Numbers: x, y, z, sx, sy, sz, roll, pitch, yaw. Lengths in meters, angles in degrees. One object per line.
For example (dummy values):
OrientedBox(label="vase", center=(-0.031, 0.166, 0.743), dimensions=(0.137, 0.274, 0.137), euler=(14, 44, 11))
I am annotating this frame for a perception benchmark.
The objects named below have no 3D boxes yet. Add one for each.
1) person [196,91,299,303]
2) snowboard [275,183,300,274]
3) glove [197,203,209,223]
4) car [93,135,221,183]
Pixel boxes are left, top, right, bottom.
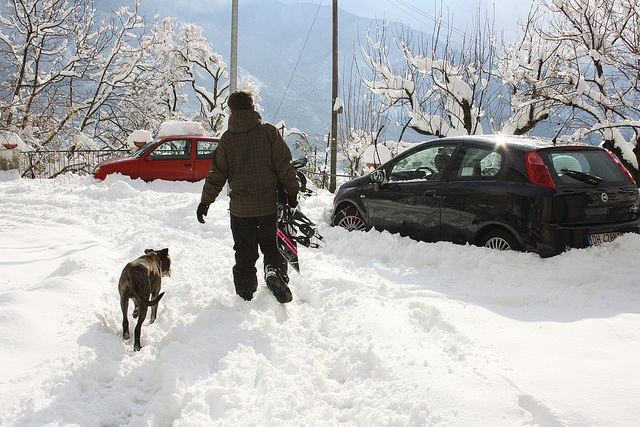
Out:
OrientedBox(label="person", center=(-0.936, -0.230, 5.814), dimensions=(1.259, 2.832, 0.546), euler=(3, 11, 1))
OrientedBox(label="snowboard", center=(-0.525, 0.231, 6.052), dimensions=(0.260, 1.107, 0.164), euler=(-10, -1, -41))
OrientedBox(label="glove", center=(-1.578, -0.017, 5.826), dimensions=(0.102, 0.292, 0.202), euler=(15, -6, -28))
OrientedBox(label="car", center=(-5.183, -1.778, 14.530), dimensions=(4.146, 1.931, 2.413), euler=(4, 2, -10))
